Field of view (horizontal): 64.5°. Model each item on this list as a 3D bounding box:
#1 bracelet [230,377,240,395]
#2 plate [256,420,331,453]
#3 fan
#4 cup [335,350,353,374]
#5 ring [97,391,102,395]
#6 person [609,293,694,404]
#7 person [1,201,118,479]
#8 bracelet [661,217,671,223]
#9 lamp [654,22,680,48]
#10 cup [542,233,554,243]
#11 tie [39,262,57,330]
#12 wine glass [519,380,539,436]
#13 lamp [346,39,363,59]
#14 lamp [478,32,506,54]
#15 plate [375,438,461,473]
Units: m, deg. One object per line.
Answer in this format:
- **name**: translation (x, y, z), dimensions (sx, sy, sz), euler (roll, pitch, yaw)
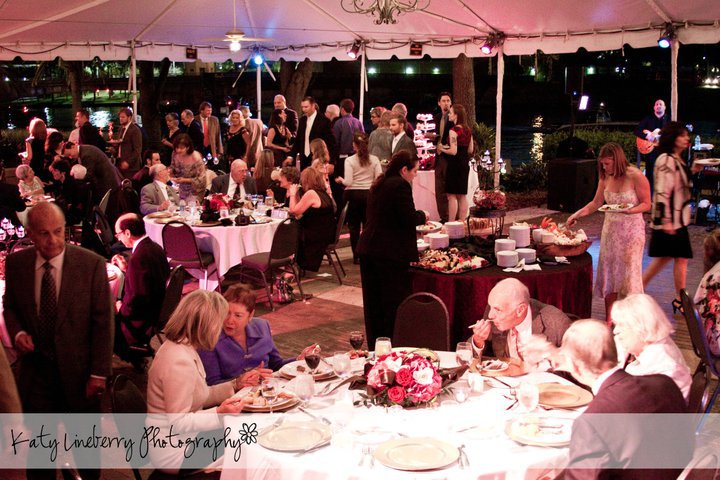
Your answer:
- **bracelet**: translation (-0.866, 1.017, 3.959), dimensions (0.079, 0.082, 0.081), euler (-3, -18, -2)
- **plate**: translation (-0.385, 1.158, 3.355), dimensions (0.426, 0.067, 0.259), euler (-4, 8, -6)
- **fan**: translation (-2.157, -4.045, 10.350), dimensions (1.156, 1.292, 1.132), euler (-3, 6, -10)
- **cup**: translation (-0.109, 0.816, 3.787), dimensions (0.111, 0.117, 0.112), euler (-1, -2, 0)
- **ring**: translation (-1.907, 1.126, 4.191), dimensions (0.029, 0.007, 0.030), euler (1, 5, 0)
- **person**: translation (1.921, 0.723, 3.767), dimensions (0.453, 0.973, 0.440), euler (-7, 36, 36)
- **person**: translation (-2.187, 0.525, 4.117), dimensions (0.750, 1.594, 0.207), euler (-4, 8, -10)
- **bracelet**: translation (3.568, -0.229, 6.655), dimensions (0.067, 0.051, 0.064), euler (-1, 0, -20)
- **lamp**: translation (4.368, -2.920, 8.170), dimensions (0.179, 0.319, 0.302), euler (-3, 8, -4)
- **cup**: translation (2.014, -0.016, 6.123), dimensions (0.092, 0.070, 0.095), euler (-1, 1, 0)
- **tie**: translation (-2.207, 0.403, 4.055), dimensions (0.121, 0.495, 0.047), euler (-5, 8, -11)
- **wine glass**: translation (0.964, 0.999, 3.432), dimensions (0.150, 0.256, 0.258), euler (-1, 16, 4)
- **lamp**: translation (-0.085, -3.816, 11.414), dimensions (0.278, 0.304, 0.301), euler (20, 30, -16)
- **lamp**: translation (2.281, -3.398, 9.870), dimensions (0.468, 0.334, 0.148), euler (2, 9, 30)
- **plate**: translation (0.320, 1.203, 3.214), dimensions (0.488, 0.072, 0.255), euler (-3, 8, 0)
